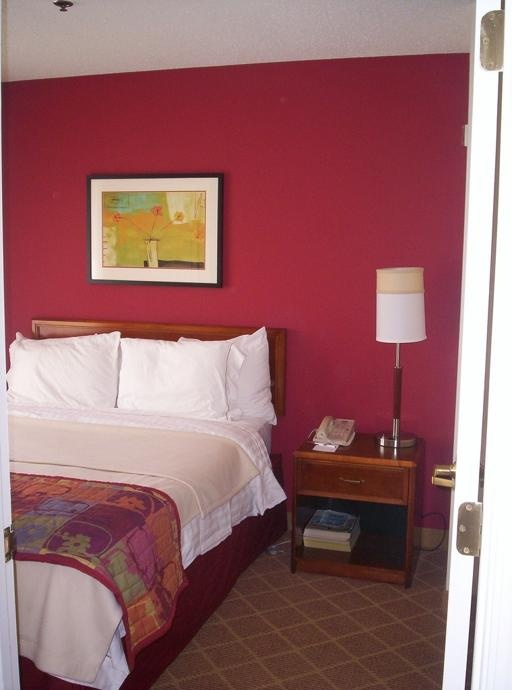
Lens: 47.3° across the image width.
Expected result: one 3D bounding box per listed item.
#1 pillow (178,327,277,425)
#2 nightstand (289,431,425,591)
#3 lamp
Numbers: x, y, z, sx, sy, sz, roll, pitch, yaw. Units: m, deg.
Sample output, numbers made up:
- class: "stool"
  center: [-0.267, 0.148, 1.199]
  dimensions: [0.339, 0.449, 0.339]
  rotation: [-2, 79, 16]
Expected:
- class: "pillow"
  center: [-0.152, 0.193, 3.277]
  dimensions: [0.544, 0.582, 0.195]
  rotation: [1, -1, 17]
- class: "nightstand"
  center: [0.539, 0.814, 3.064]
  dimensions: [0.631, 0.659, 0.488]
  rotation: [1, 3, 16]
- class: "lamp"
  center: [0.737, 0.058, 2.996]
  dimensions: [0.226, 0.919, 0.381]
  rotation: [1, 3, 16]
